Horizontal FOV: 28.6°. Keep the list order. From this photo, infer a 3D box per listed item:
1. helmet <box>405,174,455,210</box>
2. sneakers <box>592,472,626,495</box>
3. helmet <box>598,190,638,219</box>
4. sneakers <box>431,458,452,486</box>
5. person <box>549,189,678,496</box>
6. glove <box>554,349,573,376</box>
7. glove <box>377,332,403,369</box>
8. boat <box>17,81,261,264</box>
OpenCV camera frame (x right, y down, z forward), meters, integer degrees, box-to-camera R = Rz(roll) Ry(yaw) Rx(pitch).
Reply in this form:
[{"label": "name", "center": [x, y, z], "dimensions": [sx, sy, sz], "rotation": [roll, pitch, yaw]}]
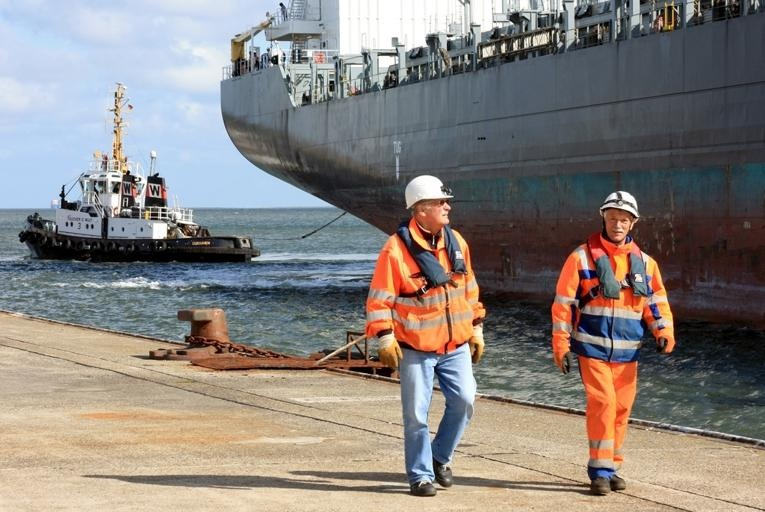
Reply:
[{"label": "helmet", "center": [0.718, -0.893, 20.269], "dimensions": [0.533, 0.318, 0.691], "rotation": [-2, -5, -39]}, {"label": "sneakers", "center": [3.074, 3.013, 20.095], "dimensions": [0.468, 0.167, 0.229], "rotation": [-5, 7, -24]}, {"label": "helmet", "center": [3.326, -0.740, 20.557], "dimensions": [0.480, 0.277, 0.572], "rotation": [10, -12, 8]}, {"label": "sneakers", "center": [0.834, 2.881, 20.182], "dimensions": [0.167, 0.154, 0.419], "rotation": [-7, 28, -26]}, {"label": "person", "center": [3.125, 1.134, 20.299], "dimensions": [1.505, 3.960, 0.727], "rotation": [-4, 5, -20]}, {"label": "glove", "center": [2.481, 1.420, 20.311], "dimensions": [0.201, 0.324, 0.262], "rotation": [-1, 5, 11]}, {"label": "glove", "center": [0.175, 1.279, 20.084], "dimensions": [0.234, 0.352, 0.518], "rotation": [5, -29, 5]}, {"label": "boat", "center": [-8.827, -2.437, 52.965], "dimensions": [11.334, 5.212, 3.977], "rotation": [5, 9, 37]}]
